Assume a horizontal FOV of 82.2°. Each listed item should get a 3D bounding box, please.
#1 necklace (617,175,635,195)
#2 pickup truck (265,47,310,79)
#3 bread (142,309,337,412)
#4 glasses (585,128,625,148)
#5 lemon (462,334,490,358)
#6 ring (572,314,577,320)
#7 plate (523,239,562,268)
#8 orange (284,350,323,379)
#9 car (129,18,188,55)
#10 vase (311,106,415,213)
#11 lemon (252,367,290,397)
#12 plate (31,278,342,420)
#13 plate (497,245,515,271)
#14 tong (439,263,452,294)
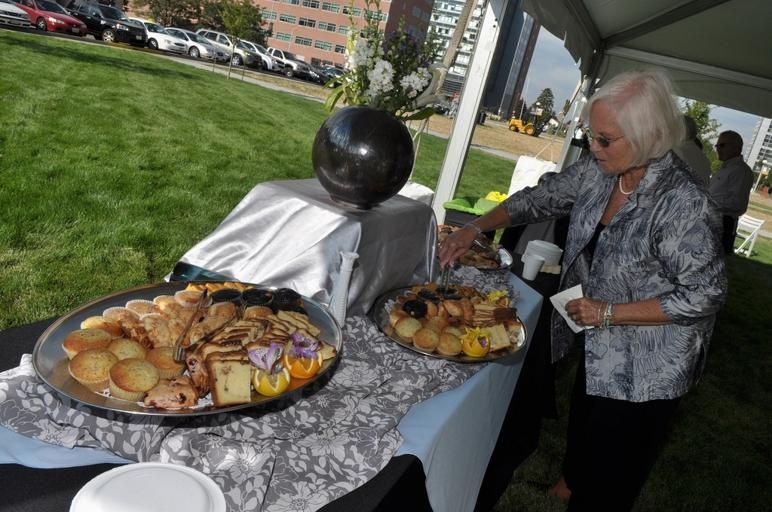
[{"bbox_3d":[0.993,-0.303,1.850,0.068,0.040,0.083,6,31,0],"label":"necklace"},{"bbox_3d":[-4.985,-9.452,21.906,2.417,1.088,1.163,21,45,0],"label":"pickup truck"},{"bbox_3d":[-0.355,0.263,1.205,0.555,0.127,0.317,-6,29,-35],"label":"bread"},{"bbox_3d":[0.827,-0.453,1.669,0.093,0.029,0.089,-3,28,-31],"label":"glasses"},{"bbox_3d":[0.315,0.313,1.591,0.081,0.042,0.085,0,10,-6],"label":"lemon"},{"bbox_3d":[0.772,0.248,1.813,0.023,0.020,0.021,-6,-23,-3],"label":"ring"},{"bbox_3d":[0.975,-0.035,2.722,0.200,0.130,0.194,15,6,-16],"label":"plate"},{"bbox_3d":[-0.223,0.291,1.184,0.072,0.045,0.077,4,16,-4],"label":"orange"},{"bbox_3d":[-8.788,-8.417,16.868,2.393,0.684,0.978,28,29,25],"label":"car"},{"bbox_3d":[-0.118,-0.376,1.733,0.404,0.309,0.363,3,21,-27],"label":"vase"},{"bbox_3d":[-0.293,0.321,1.129,0.072,0.045,0.075,5,26,-24],"label":"lemon"},{"bbox_3d":[-0.550,0.222,1.471,0.959,0.260,0.717,-1,16,-14],"label":"plate"},{"bbox_3d":[0.719,0.010,2.653,0.138,0.036,0.138,1,32,-19],"label":"plate"},{"bbox_3d":[0.259,0.095,1.922,0.048,0.023,0.228,0,23,8],"label":"tong"}]
